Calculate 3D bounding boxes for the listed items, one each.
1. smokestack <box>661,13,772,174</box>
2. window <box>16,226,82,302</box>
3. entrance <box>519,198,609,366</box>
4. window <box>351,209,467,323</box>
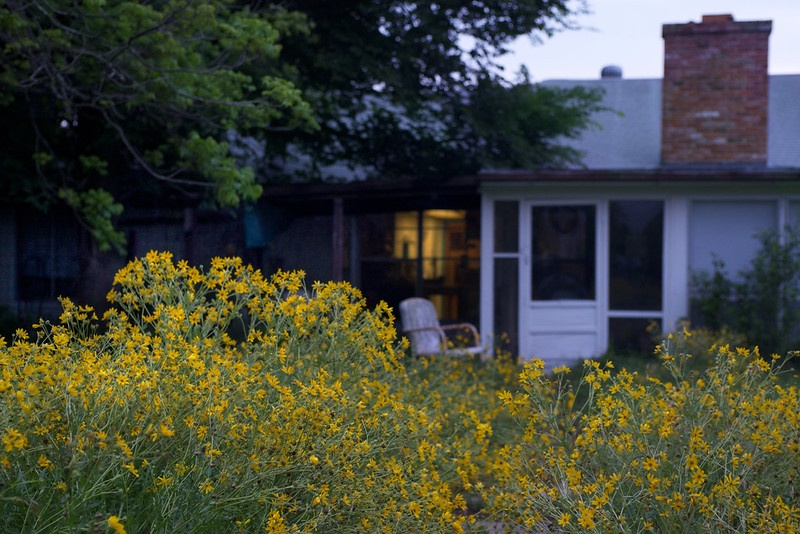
[{"bbox_3d":[3.192,-2.142,17.540,1.191,1.839,1.056,-3,37,-1],"label":"smokestack"},{"bbox_3d":[-3.579,-0.012,17.499,0.657,1.045,0.109,1,-20,-17],"label":"window"},{"bbox_3d":[1.675,0.164,17.312,0.822,1.904,0.096,0,24,7],"label":"entrance"},{"bbox_3d":[0.072,-0.065,17.038,0.955,1.161,0.047,0,14,2],"label":"window"}]
